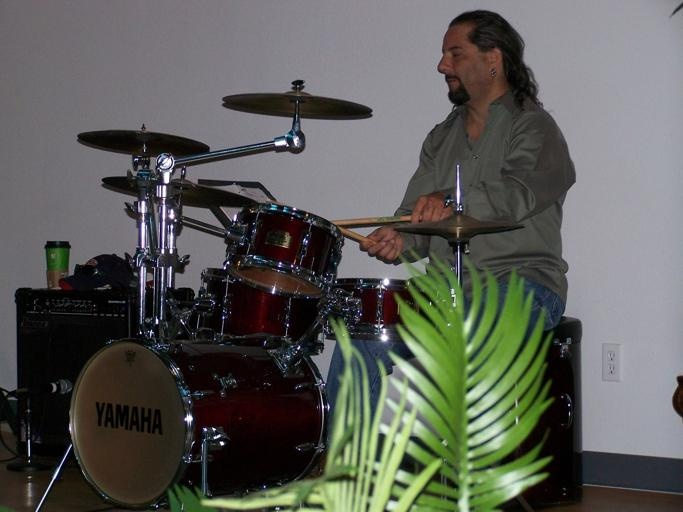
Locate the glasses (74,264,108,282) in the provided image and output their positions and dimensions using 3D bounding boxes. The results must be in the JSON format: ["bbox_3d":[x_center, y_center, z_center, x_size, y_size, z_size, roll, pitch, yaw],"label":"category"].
[{"bbox_3d":[-1.157,0.068,3.835,0.117,0.039,0.080,14,-5,2],"label":"glasses"}]

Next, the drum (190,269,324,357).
[{"bbox_3d":[-0.321,0.220,3.121,0.366,0.232,0.362,11,-11,2],"label":"drum"}]

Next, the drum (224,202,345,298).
[{"bbox_3d":[-0.211,-0.010,3.006,0.347,0.204,0.351,12,-21,5],"label":"drum"}]

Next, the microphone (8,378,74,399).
[{"bbox_3d":[-1.248,0.554,3.496,0.165,0.046,0.168,-13,-9,27],"label":"microphone"}]

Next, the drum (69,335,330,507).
[{"bbox_3d":[-0.503,0.511,2.968,0.684,0.575,0.575,6,-7,-40],"label":"drum"}]

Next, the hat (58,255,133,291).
[{"bbox_3d":[-1.120,0.085,3.822,0.202,0.122,0.314,-3,-2,44],"label":"hat"}]

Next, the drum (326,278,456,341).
[{"bbox_3d":[0.142,0.200,3.136,0.300,0.199,0.301,0,-3,0],"label":"drum"}]

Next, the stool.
[{"bbox_3d":[0.599,0.609,3.354,0.637,0.666,0.651,0,-5,0],"label":"stool"}]

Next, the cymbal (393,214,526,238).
[{"bbox_3d":[0.378,-0.091,2.760,0.425,0.089,0.158,-1,-6,8],"label":"cymbal"}]

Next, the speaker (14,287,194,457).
[{"bbox_3d":[-1.239,0.557,3.889,0.547,0.706,0.429,-3,-30,-16],"label":"speaker"}]

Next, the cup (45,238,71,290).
[{"bbox_3d":[-1.348,0.039,3.973,0.133,0.207,0.136,1,-2,0],"label":"cup"}]
